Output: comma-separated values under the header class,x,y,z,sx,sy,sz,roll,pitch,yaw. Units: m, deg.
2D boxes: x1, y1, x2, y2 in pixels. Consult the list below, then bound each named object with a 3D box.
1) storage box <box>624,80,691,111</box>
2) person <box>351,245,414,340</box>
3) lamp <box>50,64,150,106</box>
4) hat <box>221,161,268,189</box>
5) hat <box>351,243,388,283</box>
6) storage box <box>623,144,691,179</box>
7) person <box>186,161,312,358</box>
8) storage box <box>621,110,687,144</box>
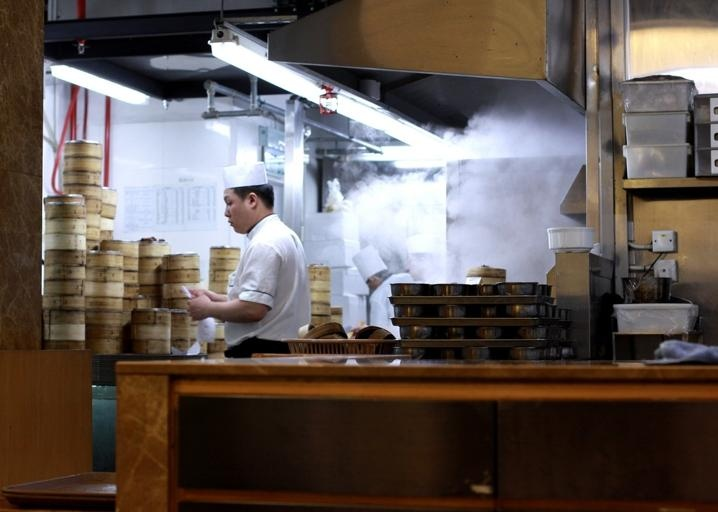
class,x,y,z,sx,sy,sz,roll,pitch,yaw
storage box,1.402,-0.729,5.673,0.241,0.098,0.166,0,1,25
person,0.139,0.230,8.112,0.273,0.702,0.465,7,26,33
lamp,-1.608,-1.056,7.436,0.064,0.147,0.865,-11,-11,28
hat,-0.526,-0.418,6.001,0.161,0.076,0.163,-5,-2,43
hat,0.071,0.050,9.628,0.268,0.279,0.248,1,0,10
storage box,1.459,-0.455,5.812,0.330,0.160,0.217,0,2,31
person,-0.530,0.005,5.842,0.536,0.920,0.448,1,0,12
storage box,1.468,-0.615,5.780,0.337,0.169,0.222,5,16,39
